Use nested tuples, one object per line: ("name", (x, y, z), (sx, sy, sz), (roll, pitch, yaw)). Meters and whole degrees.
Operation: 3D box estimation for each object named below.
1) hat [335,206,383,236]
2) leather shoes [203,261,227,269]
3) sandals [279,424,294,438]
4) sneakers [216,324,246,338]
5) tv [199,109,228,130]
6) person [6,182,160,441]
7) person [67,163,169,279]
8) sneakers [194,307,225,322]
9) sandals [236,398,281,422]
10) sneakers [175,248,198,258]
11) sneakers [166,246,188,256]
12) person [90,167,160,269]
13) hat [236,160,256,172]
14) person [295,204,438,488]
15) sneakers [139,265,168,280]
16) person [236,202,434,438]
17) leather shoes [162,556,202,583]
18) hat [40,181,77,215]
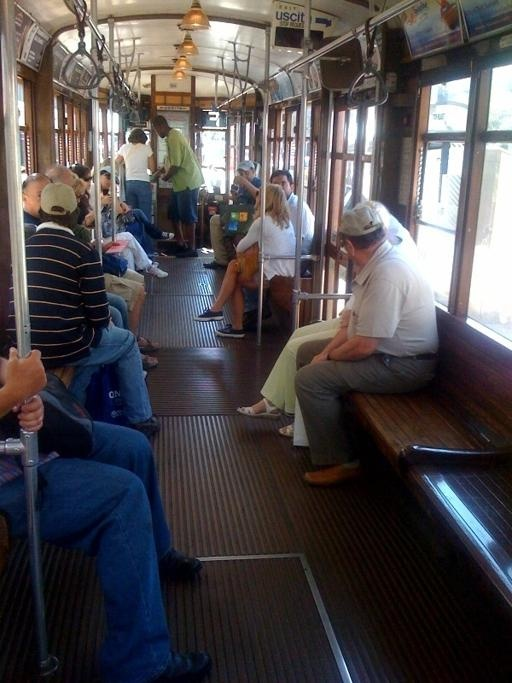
("hat", (0.597, -0.684, 2.770), (0.157, 0.117, 0.225), (-14, 15, 2))
("leather shoes", (-0.802, -1.450, 9.421), (0.503, 0.228, 0.175), (-2, 9, -9))
("sandals", (0.222, 0.667, 3.562), (0.114, 0.049, 0.054), (3, 2, -31))
("sneakers", (-0.303, -0.128, 5.917), (0.344, 0.161, 0.142), (5, 3, 0))
("tv", (-1.166, -6.000, 13.181), (0.505, 0.680, 1.041), (4, 8, 11))
("person", (-1.090, -0.140, 3.116), (0.576, 1.574, 0.862), (5, 11, 18))
("person", (-2.244, -2.148, 8.559), (1.091, 1.969, 0.638), (-1, 33, -1))
("sneakers", (-0.612, -0.345, 6.438), (0.391, 0.186, 0.148), (1, 4, -4))
("sandals", (0.034, 0.540, 3.858), (0.364, 0.160, 0.136), (5, -2, 6))
("sneakers", (-1.472, -1.853, 10.316), (0.516, 0.216, 0.178), (5, 8, 14))
("sneakers", (-1.655, -1.900, 10.348), (0.478, 0.212, 0.180), (3, 12, -3))
("person", (-2.183, -2.069, 8.097), (1.079, 1.588, 0.699), (-4, -2, -11))
("hat", (-0.167, -3.152, 8.800), (0.191, 0.153, 0.281), (6, 15, 23))
("person", (0.685, 0.029, 3.061), (0.873, 1.662, 0.699), (-1, 14, 16))
("sneakers", (-1.773, -1.202, 8.436), (0.481, 0.209, 0.194), (-3, 35, -25))
("person", (0.503, -0.022, 3.273), (1.148, 1.766, 0.697), (-3, 35, 13))
("leather shoes", (-0.306, 0.935, 2.032), (0.150, 0.057, 0.098), (5, 20, -27))
("hat", (-1.086, -0.790, 2.661), (0.143, 0.120, 0.213), (-1, 46, -15))
